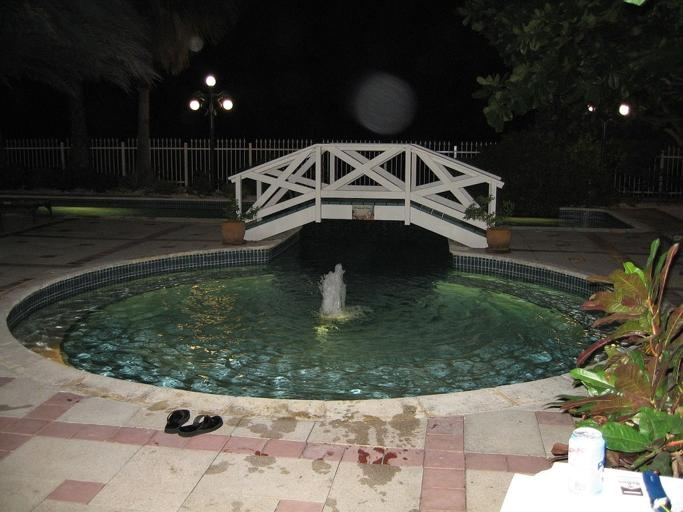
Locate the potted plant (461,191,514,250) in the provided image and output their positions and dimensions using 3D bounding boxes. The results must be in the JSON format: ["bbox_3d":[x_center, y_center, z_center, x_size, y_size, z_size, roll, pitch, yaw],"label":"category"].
[{"bbox_3d":[3.493,-0.777,9.809,1.303,1.487,0.996,-2,-10,0],"label":"potted plant"}]

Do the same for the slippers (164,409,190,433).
[{"bbox_3d":[-1.309,1.307,3.259,0.086,0.063,0.218,7,16,1],"label":"slippers"}]

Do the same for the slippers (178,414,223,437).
[{"bbox_3d":[-1.081,1.323,3.190,0.228,0.064,0.121,-5,11,-24],"label":"slippers"}]

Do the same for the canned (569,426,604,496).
[{"bbox_3d":[0.877,0.716,1.462,0.109,0.180,0.207,6,9,33],"label":"canned"}]

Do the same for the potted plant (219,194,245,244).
[{"bbox_3d":[-2.666,-0.837,10.240,0.590,1.111,0.559,8,10,43],"label":"potted plant"}]
